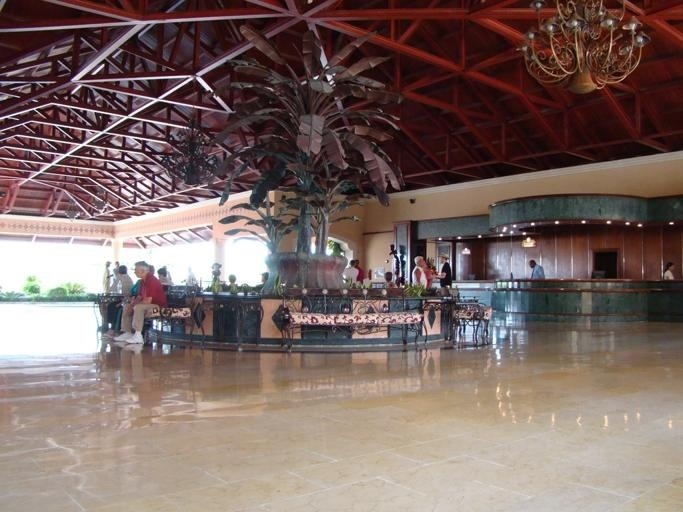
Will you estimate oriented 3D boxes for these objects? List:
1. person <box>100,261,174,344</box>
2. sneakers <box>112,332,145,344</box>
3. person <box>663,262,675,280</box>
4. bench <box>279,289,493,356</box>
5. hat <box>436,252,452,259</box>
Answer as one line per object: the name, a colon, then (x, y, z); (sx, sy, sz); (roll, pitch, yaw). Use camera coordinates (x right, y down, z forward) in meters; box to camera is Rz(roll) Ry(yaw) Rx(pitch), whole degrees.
person: (-3.285, 0.757, 8.037); (0.857, 1.342, 0.604); (-2, -2, 37)
sneakers: (-3.470, 1.355, 8.046); (0.607, 0.227, 0.206); (2, -10, 13)
person: (9.886, 0.451, 14.834); (0.306, 0.535, 2.235); (-2, -3, 34)
bench: (0.820, 1.040, 8.061); (3.654, 0.962, 1.107); (1, -3, -31)
hat: (3.797, -0.019, 18.118); (0.473, 0.146, 0.482); (1, -3, -8)
